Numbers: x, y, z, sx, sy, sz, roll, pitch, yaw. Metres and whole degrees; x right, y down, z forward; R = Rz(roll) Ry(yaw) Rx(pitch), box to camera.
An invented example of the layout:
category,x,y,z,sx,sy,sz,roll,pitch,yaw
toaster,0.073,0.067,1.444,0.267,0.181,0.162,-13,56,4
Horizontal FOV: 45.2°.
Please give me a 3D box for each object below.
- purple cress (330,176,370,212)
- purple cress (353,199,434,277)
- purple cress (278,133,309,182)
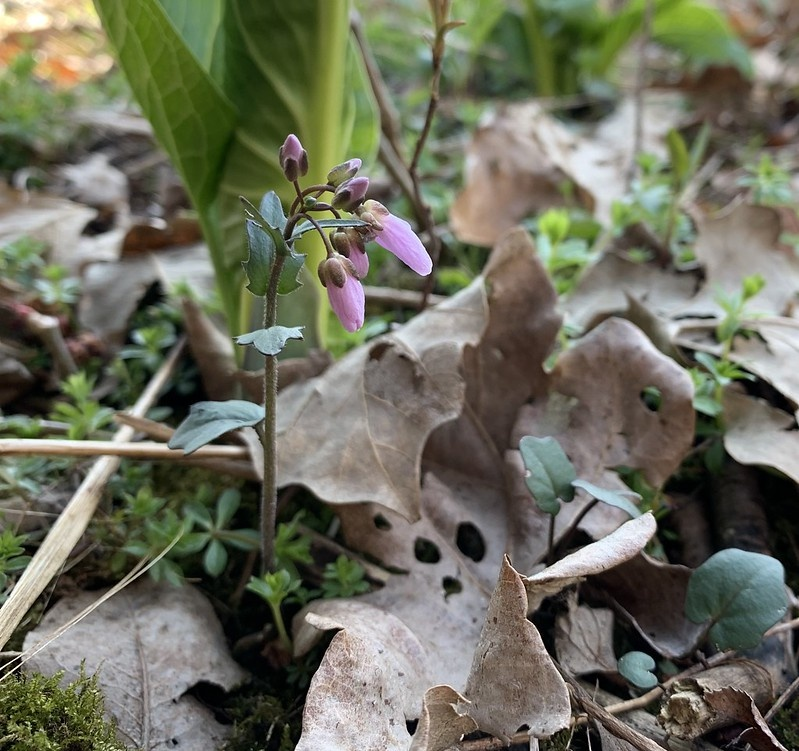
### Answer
category,x,y,z,sx,sy,sz,roll,pitch,yaw
purple cress,-0.083,-0.304,1.612,0.034,0.070,0.042,-14,84,-30
purple cress,-0.009,-0.242,1.687,0.206,0.068,0.065,37,89,-1
purple cress,-0.176,-0.368,1.644,0.056,0.089,0.041,6,20,19
